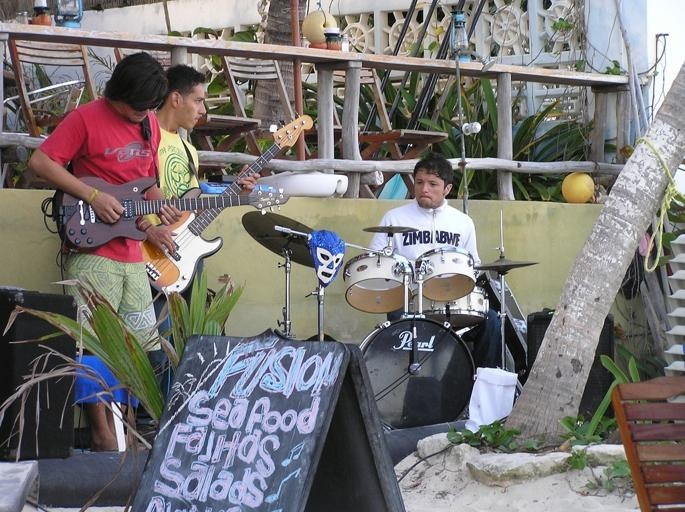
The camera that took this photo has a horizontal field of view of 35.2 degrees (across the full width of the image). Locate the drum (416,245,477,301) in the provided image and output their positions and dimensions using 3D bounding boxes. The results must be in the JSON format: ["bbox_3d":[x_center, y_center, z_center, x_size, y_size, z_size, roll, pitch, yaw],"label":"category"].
[{"bbox_3d":[0.732,0.153,7.714,0.424,0.486,0.302,0,16,6],"label":"drum"}]

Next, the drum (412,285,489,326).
[{"bbox_3d":[0.863,0.397,7.880,0.341,0.141,0.339,2,-5,0],"label":"drum"}]

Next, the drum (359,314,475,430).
[{"bbox_3d":[0.530,0.823,7.601,0.708,0.848,0.604,-2,12,-13],"label":"drum"}]

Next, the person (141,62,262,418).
[{"bbox_3d":[-1.085,-0.188,7.379,0.636,2.443,0.707,-5,14,-33],"label":"person"}]

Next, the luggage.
[{"bbox_3d":[1.661,0.768,7.873,0.513,0.914,0.506,4,8,17],"label":"luggage"}]

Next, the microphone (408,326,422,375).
[{"bbox_3d":[0.501,0.660,7.538,0.053,0.332,0.091,7,17,30],"label":"microphone"}]

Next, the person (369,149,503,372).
[{"bbox_3d":[0.740,0.164,8.470,0.803,1.845,0.787,0,12,-13],"label":"person"}]

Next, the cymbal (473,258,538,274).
[{"bbox_3d":[1.153,0.073,7.834,0.231,0.112,0.251,-1,0,30],"label":"cymbal"}]

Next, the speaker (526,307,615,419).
[{"bbox_3d":[1.663,0.790,7.881,0.526,0.897,0.486,5,8,14],"label":"speaker"}]

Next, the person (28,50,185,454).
[{"bbox_3d":[-1.407,-0.267,6.799,0.810,2.867,1.070,1,3,25],"label":"person"}]
